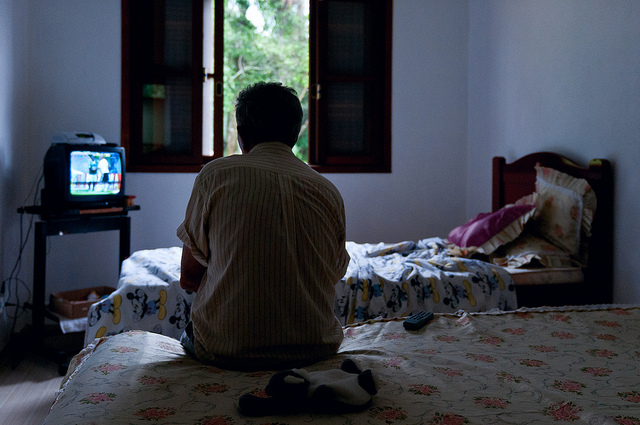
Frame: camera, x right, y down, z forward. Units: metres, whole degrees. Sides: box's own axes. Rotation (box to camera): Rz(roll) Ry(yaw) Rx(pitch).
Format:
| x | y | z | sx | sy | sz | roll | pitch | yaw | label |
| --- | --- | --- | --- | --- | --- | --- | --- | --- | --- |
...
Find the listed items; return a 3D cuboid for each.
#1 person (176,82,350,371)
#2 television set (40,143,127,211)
| x | y | z | sx | sy | sz | roll | pitch | yaw | label |
| --- | --- | --- | --- | --- | --- | --- | --- | --- | --- |
| -0.289 | 0.058 | 2.860 | 0.816 | 1.305 | 0.914 | 0 | 0 | -28 | person |
| -1.667 | -0.254 | 4.197 | 0.408 | 0.479 | 0.618 | 5 | 8 | 35 | television set |
